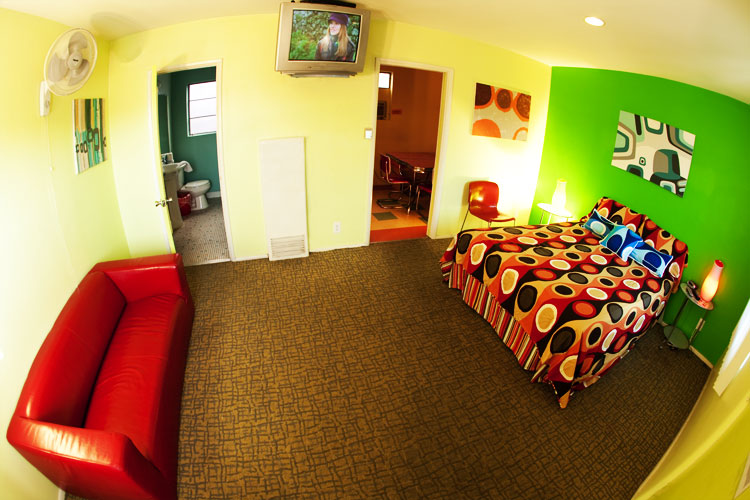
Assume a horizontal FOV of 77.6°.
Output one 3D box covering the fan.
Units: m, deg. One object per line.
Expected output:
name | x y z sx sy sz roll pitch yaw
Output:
fan | -2.437 -1.501 3.709 0.239 0.486 0.369 3 20 7

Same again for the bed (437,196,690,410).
bed | 2.323 0.338 5.059 2.220 1.130 1.968 -18 37 -22

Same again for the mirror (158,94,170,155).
mirror | -3.422 -2.101 7.646 0.088 0.882 0.340 -2 21 -25

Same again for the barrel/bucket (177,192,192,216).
barrel/bucket | -2.978 -0.729 7.316 0.301 0.336 0.334 -3 14 -20

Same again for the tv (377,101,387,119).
tv | 0.144 -2.622 8.724 0.176 0.331 0.043 1 21 3

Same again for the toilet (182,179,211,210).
toilet | -2.951 -0.926 7.737 0.389 0.406 0.464 -4 25 -17

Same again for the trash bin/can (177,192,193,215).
trash bin/can | -2.978 -0.737 7.306 0.289 0.306 0.309 -4 14 -24

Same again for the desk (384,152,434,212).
desk | 0.578 -1.226 8.150 0.852 0.921 1.279 2 20 5

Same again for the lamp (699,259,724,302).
lamp | 3.516 0.319 4.878 0.155 0.457 0.287 17 26 38

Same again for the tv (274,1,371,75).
tv | -0.601 -2.343 5.202 1.210 0.959 0.636 -3 39 -16
